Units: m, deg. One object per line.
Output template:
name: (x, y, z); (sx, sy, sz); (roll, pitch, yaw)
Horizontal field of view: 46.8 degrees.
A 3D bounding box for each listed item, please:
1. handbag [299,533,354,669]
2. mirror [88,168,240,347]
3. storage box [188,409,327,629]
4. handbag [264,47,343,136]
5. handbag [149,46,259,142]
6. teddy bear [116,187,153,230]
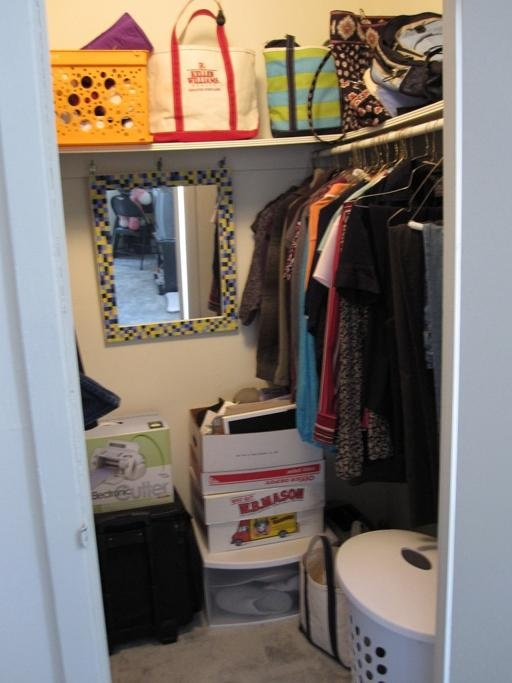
handbag: (0.211, 0.830, 2.015); (0.119, 0.446, 0.332); (-6, 8, -8)
mirror: (-0.390, -0.362, 2.377); (0.736, 0.836, 0.020); (-6, 14, -18)
storage box: (0.006, 0.598, 2.352); (0.619, 0.841, 0.752); (-2, 7, -11)
handbag: (0.185, -0.936, 2.187); (0.360, 0.348, 0.137); (-4, 17, -3)
handbag: (-0.197, -0.869, 2.070); (0.408, 0.267, 0.148); (-5, 11, -20)
teddy bear: (-0.464, -0.515, 2.316); (0.127, 0.133, 0.155); (-16, 26, -32)
